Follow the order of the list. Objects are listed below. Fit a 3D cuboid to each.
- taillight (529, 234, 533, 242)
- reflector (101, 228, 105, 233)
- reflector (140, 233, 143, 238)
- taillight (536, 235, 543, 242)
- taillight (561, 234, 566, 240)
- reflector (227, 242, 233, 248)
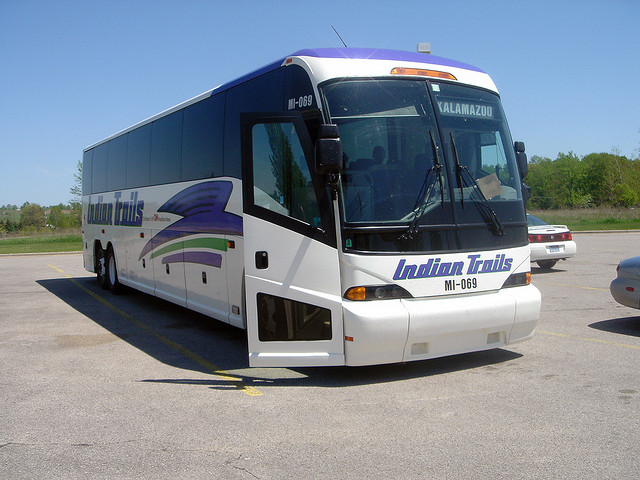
[{"bbox_3d":[6.844,-0.063,15.736,0.157,0.253,0.091,-3,3,-35],"label":"taillight"},{"bbox_3d":[-6.813,-0.287,15.122,0.092,0.111,0.173,1,1,-28],"label":"reflector"},{"bbox_3d":[-4.488,-0.112,12.093,0.077,0.157,0.100,2,-1,-34],"label":"reflector"},{"bbox_3d":[7.141,-0.064,15.774,0.245,0.211,0.095,-3,3,-17],"label":"taillight"},{"bbox_3d":[7.995,-0.105,15.900,0.194,0.170,0.041,-3,3,-28],"label":"taillight"},{"bbox_3d":[-1.543,0.081,8.220,0.070,0.105,0.138,-4,-1,-5],"label":"reflector"}]
